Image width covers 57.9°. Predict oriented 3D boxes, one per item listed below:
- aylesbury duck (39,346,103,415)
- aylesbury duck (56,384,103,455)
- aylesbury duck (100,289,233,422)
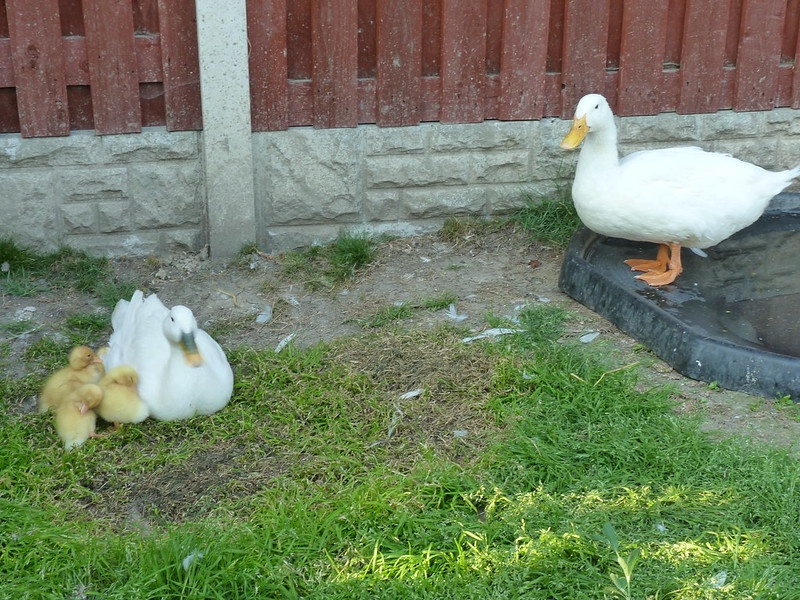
[{"bbox_3d":[-1.732,0.433,3.773,0.326,0.198,0.183,-34,48,-17],"label":"aylesbury duck"},{"bbox_3d":[-1.597,0.572,3.560,0.220,0.140,0.336,22,43,-24],"label":"aylesbury duck"},{"bbox_3d":[-1.306,0.195,3.866,0.528,0.527,0.829,-15,45,-31],"label":"aylesbury duck"}]
